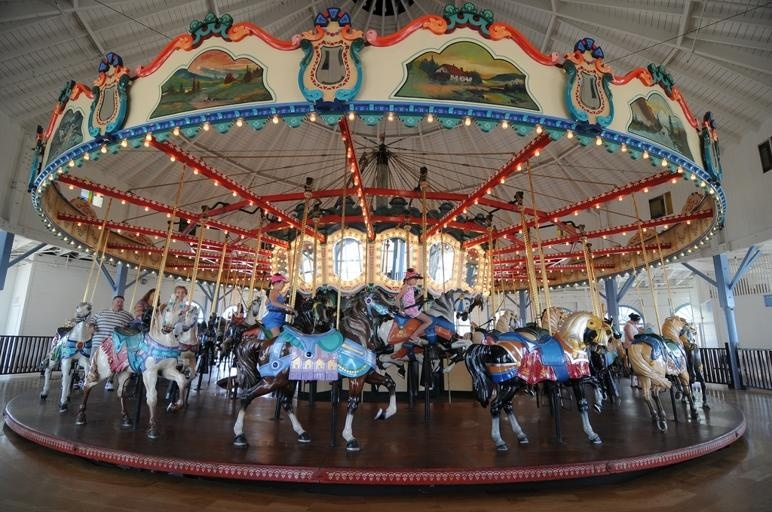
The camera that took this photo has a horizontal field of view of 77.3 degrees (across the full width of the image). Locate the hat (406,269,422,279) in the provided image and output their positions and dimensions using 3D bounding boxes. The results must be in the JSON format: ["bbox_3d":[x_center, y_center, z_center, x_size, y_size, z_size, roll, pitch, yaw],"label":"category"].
[{"bbox_3d":[0.531,0.342,9.096,0.269,0.148,0.189,-6,-5,2],"label":"hat"}]
